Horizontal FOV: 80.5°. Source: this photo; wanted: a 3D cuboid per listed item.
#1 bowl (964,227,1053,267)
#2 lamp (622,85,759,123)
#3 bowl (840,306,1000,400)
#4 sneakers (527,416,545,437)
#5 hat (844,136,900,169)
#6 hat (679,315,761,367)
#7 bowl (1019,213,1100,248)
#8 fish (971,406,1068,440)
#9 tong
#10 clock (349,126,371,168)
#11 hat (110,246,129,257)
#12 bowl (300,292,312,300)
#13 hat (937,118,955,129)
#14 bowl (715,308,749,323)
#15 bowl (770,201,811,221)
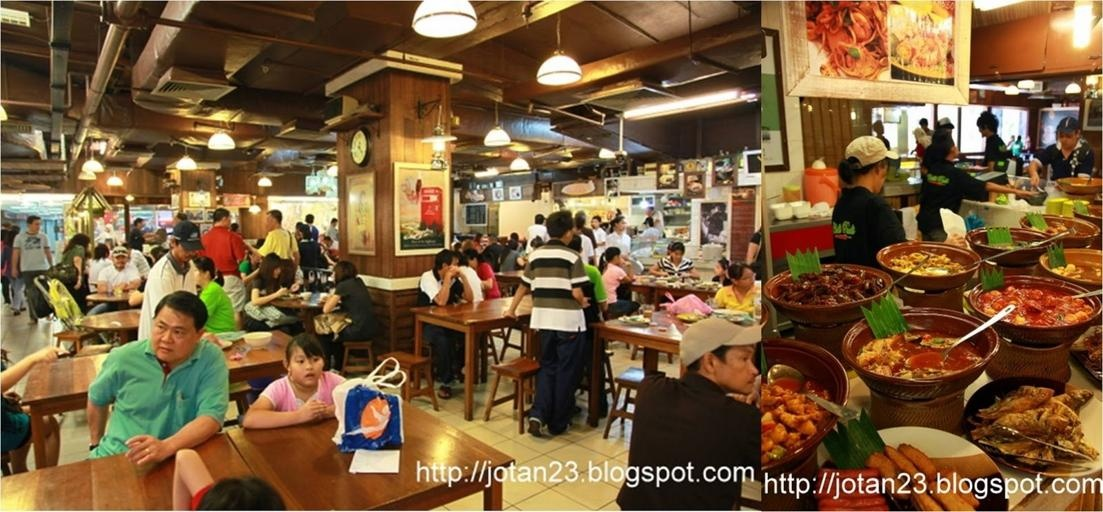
[{"bbox_3d":[3.313,-0.081,4.716,0.418,0.126,0.378,-5,8,-14],"label":"bowl"},{"bbox_3d":[2.008,-2.207,9.323,0.576,0.253,2.042,-5,4,-37],"label":"lamp"},{"bbox_3d":[2.549,0.767,4.657,1.172,0.351,1.031,3,17,14],"label":"bowl"},{"bbox_3d":[-0.149,1.960,7.621,0.227,0.217,0.259,3,12,16],"label":"sneakers"},{"bbox_3d":[2.315,-0.755,4.703,0.338,0.139,0.221,-16,22,-17],"label":"hat"},{"bbox_3d":[1.252,0.611,4.952,0.568,0.175,0.324,-17,8,9],"label":"hat"},{"bbox_3d":[3.712,-0.150,4.726,0.386,0.110,0.358,1,9,0],"label":"bowl"},{"bbox_3d":[3.370,1.190,4.703,0.575,0.168,0.261,-1,-3,-1],"label":"fish"},{"bbox_3d":[3.326,1.246,4.569,0.133,0.213,0.622,24,-21,-21],"label":"tong"},{"bbox_3d":[-2.785,-1.613,9.514,0.073,0.563,0.675,-1,5,-36],"label":"clock"},{"bbox_3d":[-6.074,-0.090,9.162,0.212,0.110,0.265,2,-9,-31],"label":"hat"},{"bbox_3d":[-3.483,0.560,9.272,0.136,0.059,0.118,-1,-1,-9],"label":"bowl"},{"bbox_3d":[2.871,-0.964,4.729,0.092,0.041,0.109,0,-2,7],"label":"hat"},{"bbox_3d":[1.387,0.450,4.920,0.146,0.024,0.124,6,20,-2],"label":"bowl"},{"bbox_3d":[1.748,-0.336,4.752,0.265,0.080,0.151,-4,5,-8],"label":"bowl"}]
